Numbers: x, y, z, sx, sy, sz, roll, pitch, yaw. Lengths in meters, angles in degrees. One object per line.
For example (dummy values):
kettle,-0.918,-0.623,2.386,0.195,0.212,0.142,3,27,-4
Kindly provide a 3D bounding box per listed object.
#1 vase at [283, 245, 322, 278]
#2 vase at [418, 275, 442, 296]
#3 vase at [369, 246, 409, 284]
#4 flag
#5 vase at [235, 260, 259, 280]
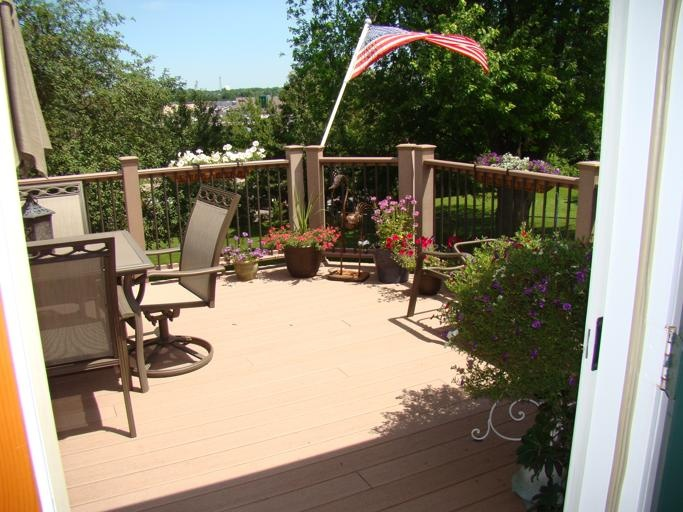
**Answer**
vase,-0.449,0.025,5.925,0.443,0.371,0.441,-7,12,-28
vase,0.878,0.291,5.130,0.223,0.228,0.237,1,8,2
vase,0.576,0.068,5.694,0.465,0.383,0.489,-4,5,-14
flag,1.054,-3.148,7.662,1.772,0.884,1.074,3,9,22
vase,-1.094,0.137,5.872,0.208,0.171,0.215,-1,3,-6
